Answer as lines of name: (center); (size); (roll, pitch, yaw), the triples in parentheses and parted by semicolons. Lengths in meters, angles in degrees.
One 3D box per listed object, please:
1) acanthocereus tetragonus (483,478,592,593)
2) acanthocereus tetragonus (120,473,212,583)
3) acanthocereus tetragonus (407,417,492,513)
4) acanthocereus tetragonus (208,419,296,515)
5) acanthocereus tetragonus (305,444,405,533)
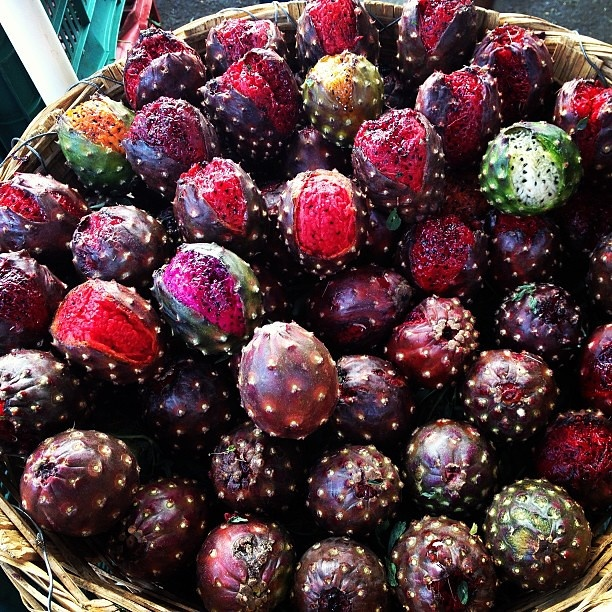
acanthocereus tetragonus: (0.426, 0.421, 1.169); (0.180, 0.114, 0.186); (-27, 59, -8)
acanthocereus tetragonus: (-0.286, 0.449, 1.297); (0.136, 0.161, 0.192); (29, 59, -6)
acanthocereus tetragonus: (0.285, 0.318, 1.252); (0.178, 0.109, 0.170); (14, 62, 16)
acanthocereus tetragonus: (-0.104, 0.330, 1.256); (0.166, 0.127, 0.161); (19, 63, 18)
acanthocereus tetragonus: (0.088, 0.354, 1.201); (0.157, 0.178, 0.167); (-3, 66, 2)
